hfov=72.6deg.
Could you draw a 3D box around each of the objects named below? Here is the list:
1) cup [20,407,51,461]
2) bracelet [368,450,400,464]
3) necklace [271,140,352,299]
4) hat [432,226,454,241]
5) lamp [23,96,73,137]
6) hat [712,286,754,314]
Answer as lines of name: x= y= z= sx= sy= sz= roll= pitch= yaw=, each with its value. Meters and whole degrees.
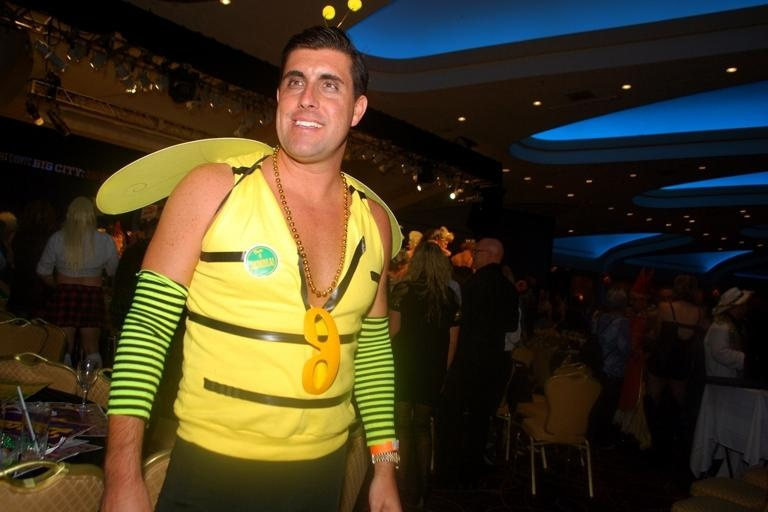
cup: x=-1.856 y=0.930 z=2.783 sx=0.110 sy=0.285 sz=0.156 roll=0 pitch=7 yaw=-35
bracelet: x=-0.001 y=1.012 z=2.625 sx=0.154 sy=0.084 sz=0.183 roll=2 pitch=-12 yaw=-3
necklace: x=-0.315 y=-0.123 z=2.427 sx=0.359 sy=0.767 sz=0.095 roll=5 pitch=-17 yaw=-39
hat: x=0.957 y=-0.364 z=8.526 sx=0.420 sy=0.221 sz=0.549 roll=3 pitch=0 yaw=7
lamp: x=-6.153 y=-2.550 z=9.532 sx=0.804 sy=0.530 sz=0.323 roll=37 pitch=30 yaw=14
hat: x=4.025 y=0.529 z=6.098 sx=0.342 sy=0.106 sz=0.353 roll=-44 pitch=4 yaw=-36
